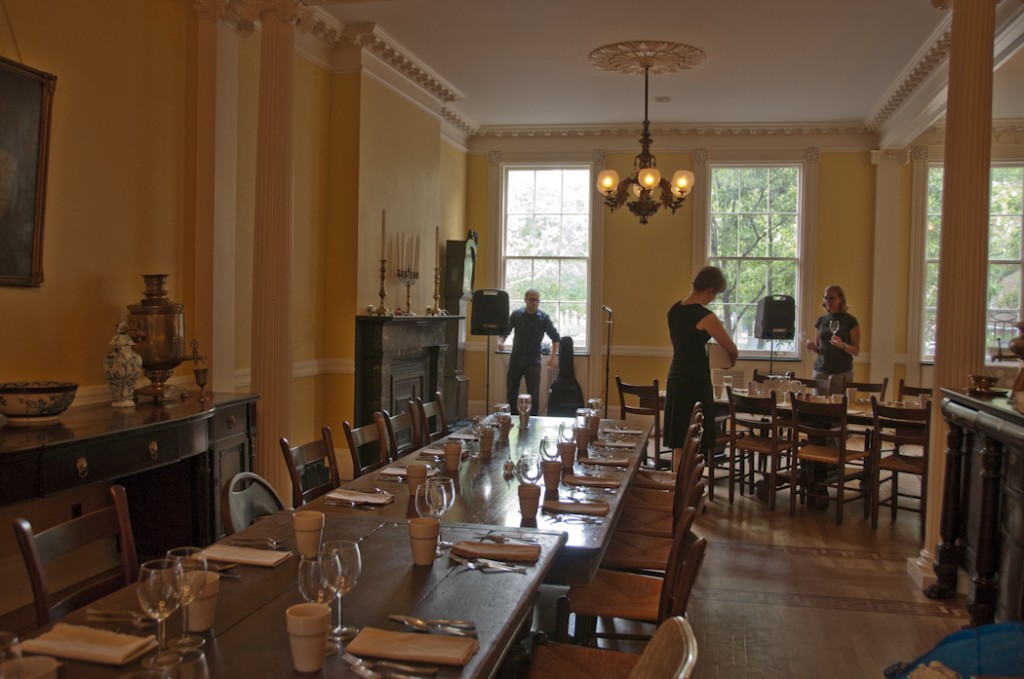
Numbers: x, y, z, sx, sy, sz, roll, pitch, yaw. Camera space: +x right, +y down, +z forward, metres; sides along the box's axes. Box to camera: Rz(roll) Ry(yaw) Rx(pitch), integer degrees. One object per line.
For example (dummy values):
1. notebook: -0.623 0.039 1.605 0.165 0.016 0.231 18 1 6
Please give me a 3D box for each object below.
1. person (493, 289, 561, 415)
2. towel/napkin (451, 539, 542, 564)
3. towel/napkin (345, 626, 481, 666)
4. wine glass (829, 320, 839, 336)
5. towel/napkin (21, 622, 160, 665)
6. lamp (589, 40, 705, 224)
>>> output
1. person: 0.191 0.268 9.981 0.823 1.920 0.628 9 21 16
2. towel/napkin: -0.070 0.989 3.548 0.235 0.037 0.160 1 4 15
3. towel/napkin: -0.397 1.178 2.918 0.311 0.046 0.185 1 5 12
4. wine glass: 3.481 -0.138 8.171 0.096 0.153 0.075 6 11 24
5. towel/napkin: -1.634 1.171 2.930 0.490 0.061 0.173 4 9 10
6. lamp: 1.522 -2.236 8.620 1.704 2.381 1.694 0 5 1
